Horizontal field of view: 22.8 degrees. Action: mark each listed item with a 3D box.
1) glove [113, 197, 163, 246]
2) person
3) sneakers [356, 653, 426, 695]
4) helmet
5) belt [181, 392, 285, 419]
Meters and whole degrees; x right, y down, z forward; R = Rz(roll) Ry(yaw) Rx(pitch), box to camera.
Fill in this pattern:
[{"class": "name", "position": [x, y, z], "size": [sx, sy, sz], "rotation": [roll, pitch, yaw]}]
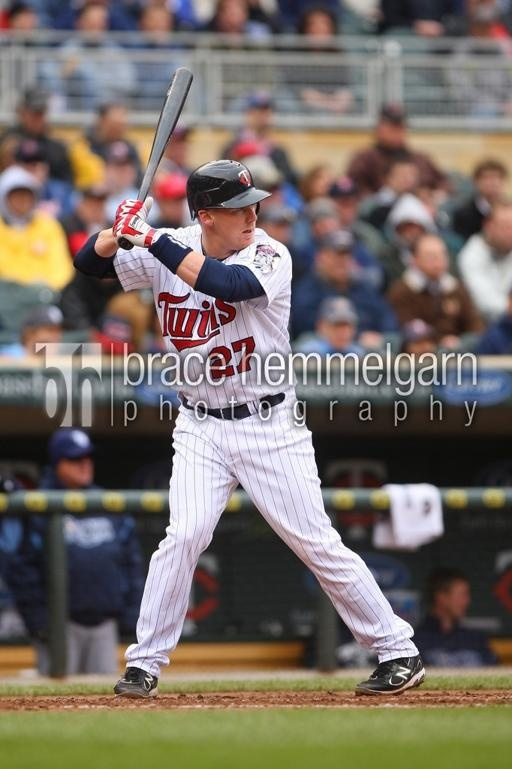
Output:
[{"class": "glove", "position": [-0.288, -0.378, 3.009], "size": [0.093, 0.050, 0.134], "rotation": [6, 50, -7]}, {"class": "person", "position": [-0.042, 0.090, 3.176], "size": [0.725, 1.291, 0.663], "rotation": [-7, 15, -5]}, {"class": "sneakers", "position": [0.328, 0.704, 3.109], "size": [0.195, 0.087, 0.070], "rotation": [-2, -5, -34]}, {"class": "helmet", "position": [-0.063, -0.469, 3.052], "size": [0.175, 0.096, 0.124], "rotation": [-6, 10, 26]}, {"class": "belt", "position": [-0.039, 0.052, 3.029], "size": [0.217, 0.051, 0.056], "rotation": [-6, 15, -3]}]
